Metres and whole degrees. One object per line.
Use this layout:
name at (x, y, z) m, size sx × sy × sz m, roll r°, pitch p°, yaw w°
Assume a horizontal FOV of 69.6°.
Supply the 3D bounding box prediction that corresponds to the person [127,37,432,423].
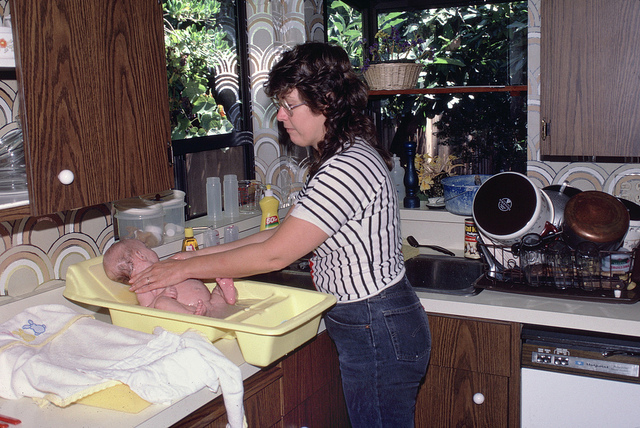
person at (-0.026, 0.100, 1.649) m, size 0.863 × 1.360 × 0.304 m, roll 2°, pitch 12°, yaw 8°

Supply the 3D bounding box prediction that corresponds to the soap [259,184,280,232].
soap at (-0.272, -0.033, 2.512) m, size 0.104 × 0.234 × 0.250 m, roll -1°, pitch 12°, yaw -6°

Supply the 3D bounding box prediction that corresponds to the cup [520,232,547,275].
cup at (0.942, 0.176, 2.056) m, size 0.125 × 0.196 × 0.084 m, roll 1°, pitch 12°, yaw 3°

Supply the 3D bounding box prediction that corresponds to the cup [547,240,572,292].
cup at (1.047, 0.222, 2.024) m, size 0.113 × 0.214 × 0.075 m, roll 4°, pitch 13°, yaw 17°

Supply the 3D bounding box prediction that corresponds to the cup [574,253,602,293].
cup at (1.173, 0.247, 1.994) m, size 0.139 × 0.171 × 0.082 m, roll -2°, pitch 12°, yaw -11°

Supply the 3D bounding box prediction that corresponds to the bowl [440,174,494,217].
bowl at (0.859, -0.123, 2.702) m, size 0.258 × 0.122 × 0.280 m, roll -9°, pitch 12°, yaw 2°
